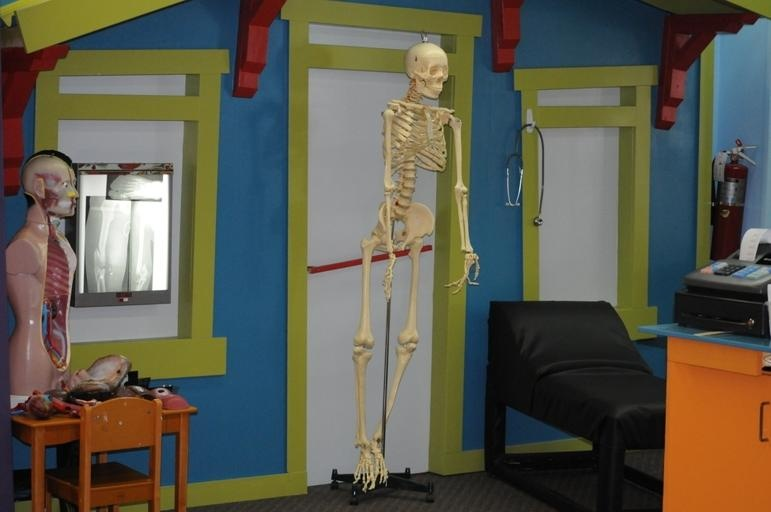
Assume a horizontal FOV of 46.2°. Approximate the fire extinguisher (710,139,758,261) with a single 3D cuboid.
[{"bbox_3d":[2.975,-0.468,7.726,0.302,1.249,0.315,2,9,37],"label":"fire extinguisher"}]
